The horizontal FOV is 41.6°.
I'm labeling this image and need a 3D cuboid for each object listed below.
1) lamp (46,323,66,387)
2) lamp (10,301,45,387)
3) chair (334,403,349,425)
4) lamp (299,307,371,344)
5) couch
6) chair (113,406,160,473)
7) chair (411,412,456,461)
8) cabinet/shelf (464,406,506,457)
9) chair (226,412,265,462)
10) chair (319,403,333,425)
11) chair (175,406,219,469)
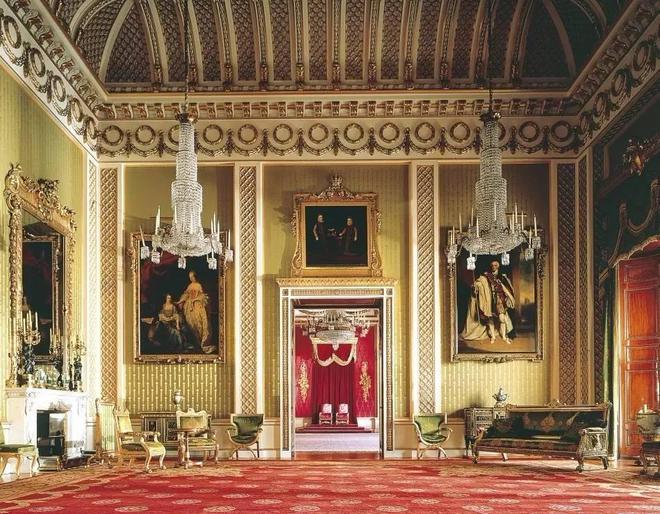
[{"bbox_3d":[-5.005,1.835,15.745,0.384,1.002,0.390,-2,-5,43],"label":"lamp"},{"bbox_3d":[-5.116,1.415,14.602,0.312,1.509,0.865,-1,-12,-4],"label":"lamp"},{"bbox_3d":[0.370,5.116,28.354,0.361,0.645,0.437,-4,-12,12],"label":"chair"},{"bbox_3d":[0.235,1.792,23.284,1.623,0.995,1.660,2,-4,-12],"label":"lamp"},{"bbox_3d":[3.767,3.202,15.692,0.952,1.284,2.465,12,-15,-35],"label":"couch"},{"bbox_3d":[-3.462,3.292,15.716,0.846,1.078,0.870,-1,-8,-2],"label":"chair"},{"bbox_3d":[1.999,3.498,17.085,0.749,0.864,0.748,-7,-11,40],"label":"chair"},{"bbox_3d":[2.988,3.329,16.681,0.970,1.004,0.561,0,-8,-1],"label":"cabinet/shelf"},{"bbox_3d":[-1.690,3.514,17.143,0.699,0.852,0.640,2,-7,-12],"label":"chair"},{"bbox_3d":[-0.148,5.109,28.375,0.461,0.673,0.473,-1,-12,-2],"label":"chair"},{"bbox_3d":[-2.568,3.417,16.550,0.647,1.107,0.732,1,-12,-22],"label":"chair"}]
